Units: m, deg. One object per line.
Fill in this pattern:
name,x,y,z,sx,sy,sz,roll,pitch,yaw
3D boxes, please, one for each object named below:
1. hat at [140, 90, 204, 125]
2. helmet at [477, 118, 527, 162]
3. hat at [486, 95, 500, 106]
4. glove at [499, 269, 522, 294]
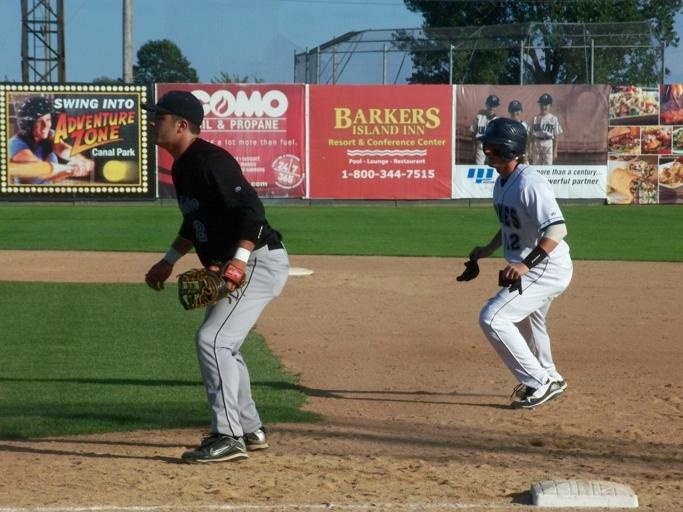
hat,-2.215,-1.962,18.987,0.730,0.469,0.287,-2,9,-7
helmet,2.276,-1.636,19.916,0.547,0.598,0.477,5,12,37
hat,3.962,-4.057,37.217,0.300,0.236,0.322,3,8,19
glove,2.334,0.345,19.668,0.314,0.349,0.292,0,8,5
